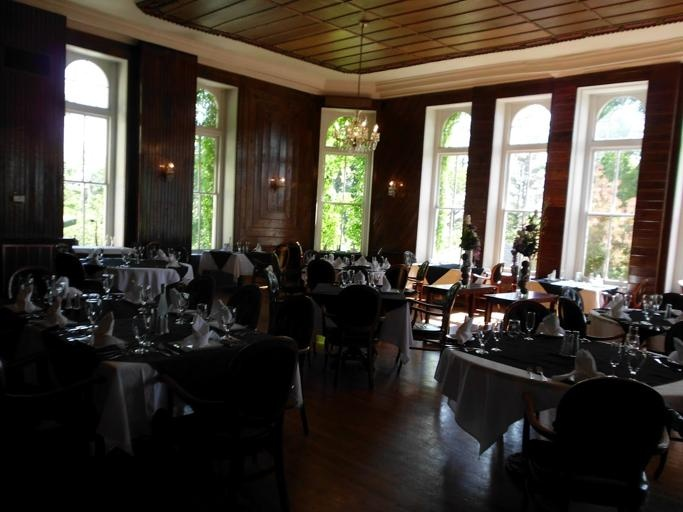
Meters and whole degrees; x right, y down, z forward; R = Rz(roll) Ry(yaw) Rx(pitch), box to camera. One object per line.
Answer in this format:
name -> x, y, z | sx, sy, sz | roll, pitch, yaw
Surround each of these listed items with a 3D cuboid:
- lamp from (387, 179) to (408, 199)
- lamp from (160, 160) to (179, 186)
lamp -> 1.246, -1.550, 11.677 | 0.382, 0.595, 0.386 | 2, -6, 3
lamp -> -3.199, -1.602, 9.543 | 0.128, 0.397, 0.334 | 9, 12, 34
